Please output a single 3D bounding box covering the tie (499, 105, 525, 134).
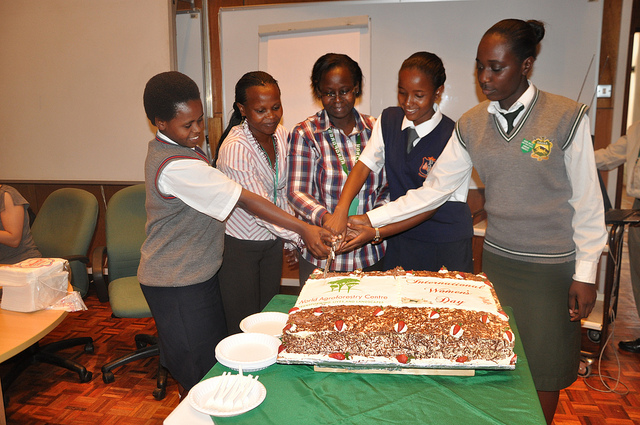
[{"bbox_3d":[0.996,-0.487,2.556,0.114,0.146,0.044,4,15,21],"label":"tie"}]

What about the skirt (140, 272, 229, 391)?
[{"bbox_3d":[-0.783,0.615,2.869,0.452,0.664,0.429,-5,11,-23],"label":"skirt"}]

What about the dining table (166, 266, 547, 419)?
[{"bbox_3d":[0.222,0.592,2.276,1.446,0.418,0.724,1,13,6],"label":"dining table"}]

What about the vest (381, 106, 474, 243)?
[{"bbox_3d":[0.611,-0.215,2.815,0.666,0.812,0.422,4,17,26],"label":"vest"}]

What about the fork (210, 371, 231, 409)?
[{"bbox_3d":[-0.430,0.774,2.121,0.027,0.023,0.162,16,38,8],"label":"fork"}]

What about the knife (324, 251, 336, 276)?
[{"bbox_3d":[0.042,0.273,2.620,0.034,0.138,0.015,28,3,-36],"label":"knife"}]
